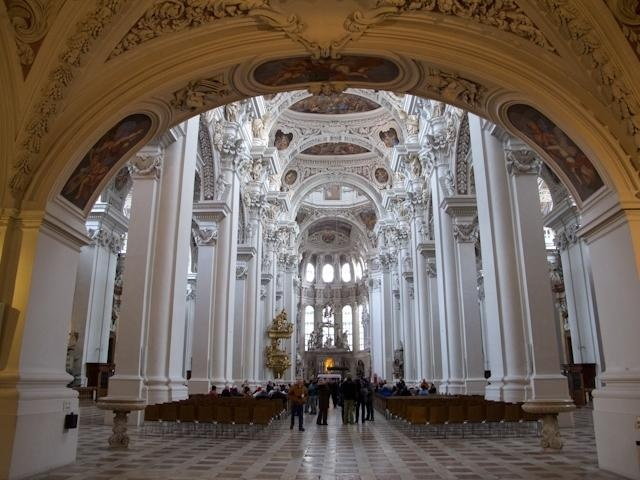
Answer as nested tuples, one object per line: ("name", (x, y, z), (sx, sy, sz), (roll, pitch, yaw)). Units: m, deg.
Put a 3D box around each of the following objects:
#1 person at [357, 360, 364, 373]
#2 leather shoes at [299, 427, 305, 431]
("person", (3.948, 12.500, 45.192), (0.463, 1.314, 1.095), (8, -19, -30))
("leather shoes", (-0.463, 4.906, 11.846), (0.136, 0.105, 0.047), (-6, -13, 18))
